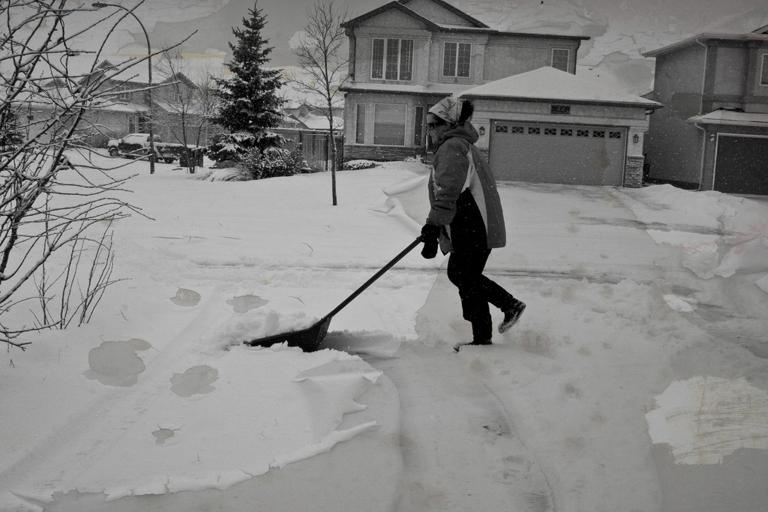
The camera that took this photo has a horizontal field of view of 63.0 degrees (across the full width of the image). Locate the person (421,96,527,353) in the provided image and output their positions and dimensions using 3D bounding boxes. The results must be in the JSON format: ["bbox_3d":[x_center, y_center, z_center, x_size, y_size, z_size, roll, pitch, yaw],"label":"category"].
[{"bbox_3d":[0.891,-0.333,6.493,1.044,2.535,0.701,3,13,13],"label":"person"}]

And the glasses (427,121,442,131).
[{"bbox_3d":[0.511,-1.349,6.554,0.093,0.100,0.031,1,10,23],"label":"glasses"}]

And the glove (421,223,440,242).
[{"bbox_3d":[0.462,-0.235,6.380,0.197,0.177,0.069,-5,14,-20],"label":"glove"}]

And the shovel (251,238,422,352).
[{"bbox_3d":[-0.684,0.528,6.513,1.542,0.937,0.368,-5,14,-21],"label":"shovel"}]
